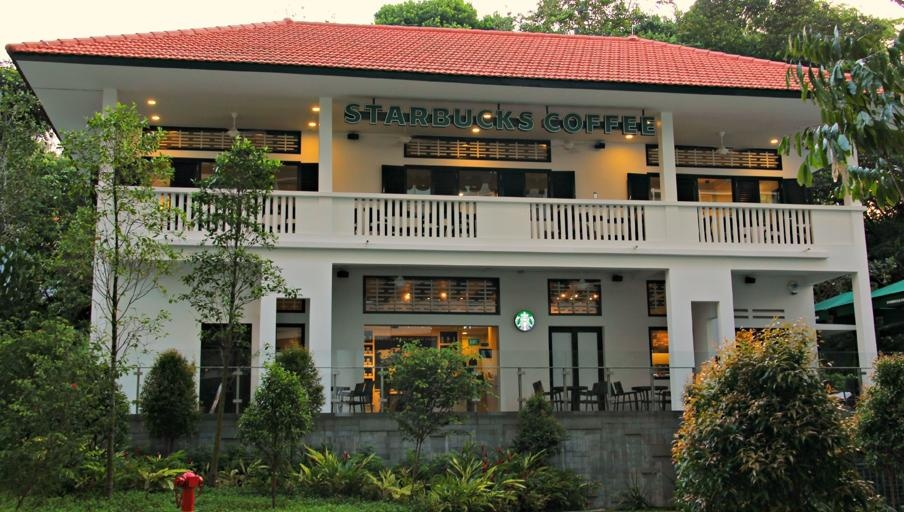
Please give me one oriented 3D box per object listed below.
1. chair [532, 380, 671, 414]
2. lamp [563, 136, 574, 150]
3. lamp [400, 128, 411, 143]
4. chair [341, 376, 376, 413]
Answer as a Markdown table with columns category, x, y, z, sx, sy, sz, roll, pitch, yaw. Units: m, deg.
| category | x | y | z | sx | sy | sz | roll | pitch | yaw |
| --- | --- | --- | --- | --- | --- | --- | --- | --- | --- |
| chair | 4.796 | 4.401 | 28.427 | 4.202 | 0.927 | 0.443 | 2 | -11 | -9 |
| lamp | 4.252 | -4.072 | 32.805 | 0.435 | 0.415 | 0.206 | 1 | -11 | -3 |
| lamp | -1.607 | -4.242 | 31.922 | 0.380 | 0.476 | 0.664 | 0 | -10 | 1 |
| chair | -2.892 | 4.325 | 27.931 | 1.067 | 1.370 | 1.036 | -5 | -10 | 39 |
